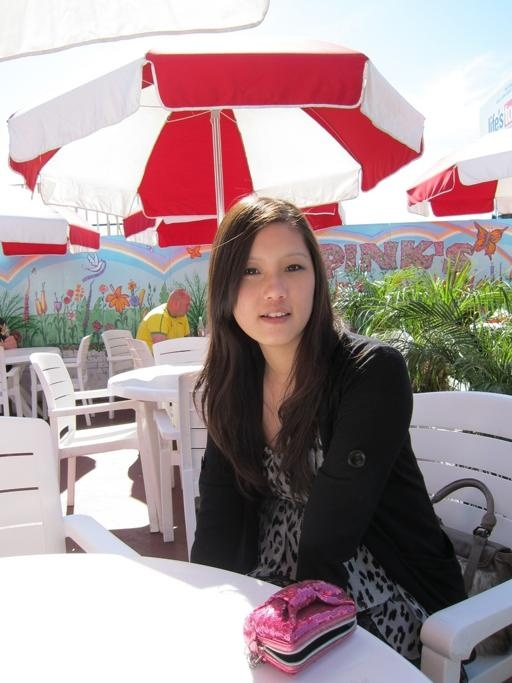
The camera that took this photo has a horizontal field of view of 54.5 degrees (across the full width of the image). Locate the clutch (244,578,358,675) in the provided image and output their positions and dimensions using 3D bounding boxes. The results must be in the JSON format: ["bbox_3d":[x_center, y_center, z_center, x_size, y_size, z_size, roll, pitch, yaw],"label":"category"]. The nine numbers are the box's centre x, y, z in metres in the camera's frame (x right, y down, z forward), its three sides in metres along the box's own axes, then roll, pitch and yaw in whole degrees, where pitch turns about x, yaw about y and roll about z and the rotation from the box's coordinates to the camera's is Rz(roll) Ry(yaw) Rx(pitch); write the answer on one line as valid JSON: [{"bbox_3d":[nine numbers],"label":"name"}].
[{"bbox_3d":[0.055,0.313,0.592,0.122,0.049,0.115,-3,6,-29],"label":"clutch"}]

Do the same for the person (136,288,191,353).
[{"bbox_3d":[-1.070,-0.283,5.934,0.509,0.811,0.850,15,15,8],"label":"person"}]
